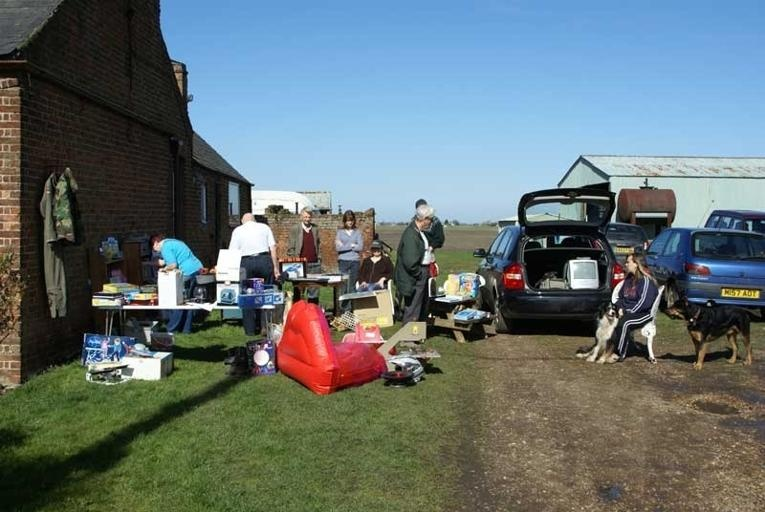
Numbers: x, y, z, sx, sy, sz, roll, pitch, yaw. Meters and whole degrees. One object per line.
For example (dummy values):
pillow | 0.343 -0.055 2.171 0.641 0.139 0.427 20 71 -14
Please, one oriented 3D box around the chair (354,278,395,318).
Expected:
chair | -0.164 0.878 11.603 0.570 0.599 0.584 -1 -2 17

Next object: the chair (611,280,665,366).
chair | 4.263 1.142 10.360 0.891 1.069 0.891 2 -15 -11

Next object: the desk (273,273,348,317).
desk | -1.298 0.772 12.015 0.939 0.932 0.961 0 -1 -3

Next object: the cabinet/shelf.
cabinet/shelf | -4.622 0.554 10.531 0.472 1.494 1.504 0 5 -3

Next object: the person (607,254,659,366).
person | 4.147 0.869 10.115 0.774 1.729 0.580 1 7 4

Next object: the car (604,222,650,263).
car | 6.536 -0.284 16.411 1.171 0.998 2.058 -1 12 8

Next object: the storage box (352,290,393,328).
storage box | -0.171 1.006 11.615 0.679 0.725 0.679 1 -10 -1

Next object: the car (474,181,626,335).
car | 3.393 -0.141 13.226 2.683 2.373 4.781 0 6 0

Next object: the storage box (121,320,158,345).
storage box | -3.997 1.250 9.995 0.451 0.456 0.446 6 -11 -32

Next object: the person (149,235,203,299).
person | -3.957 0.243 11.667 0.841 1.271 0.693 -4 8 -31

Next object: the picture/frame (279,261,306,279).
picture/frame | -1.752 0.271 11.804 0.510 0.307 0.380 5 6 -5

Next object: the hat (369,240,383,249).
hat | -0.137 -0.231 12.822 0.294 0.149 0.457 0 0 9

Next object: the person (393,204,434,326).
person | 0.516 0.153 10.245 0.594 2.065 0.660 3 8 22
